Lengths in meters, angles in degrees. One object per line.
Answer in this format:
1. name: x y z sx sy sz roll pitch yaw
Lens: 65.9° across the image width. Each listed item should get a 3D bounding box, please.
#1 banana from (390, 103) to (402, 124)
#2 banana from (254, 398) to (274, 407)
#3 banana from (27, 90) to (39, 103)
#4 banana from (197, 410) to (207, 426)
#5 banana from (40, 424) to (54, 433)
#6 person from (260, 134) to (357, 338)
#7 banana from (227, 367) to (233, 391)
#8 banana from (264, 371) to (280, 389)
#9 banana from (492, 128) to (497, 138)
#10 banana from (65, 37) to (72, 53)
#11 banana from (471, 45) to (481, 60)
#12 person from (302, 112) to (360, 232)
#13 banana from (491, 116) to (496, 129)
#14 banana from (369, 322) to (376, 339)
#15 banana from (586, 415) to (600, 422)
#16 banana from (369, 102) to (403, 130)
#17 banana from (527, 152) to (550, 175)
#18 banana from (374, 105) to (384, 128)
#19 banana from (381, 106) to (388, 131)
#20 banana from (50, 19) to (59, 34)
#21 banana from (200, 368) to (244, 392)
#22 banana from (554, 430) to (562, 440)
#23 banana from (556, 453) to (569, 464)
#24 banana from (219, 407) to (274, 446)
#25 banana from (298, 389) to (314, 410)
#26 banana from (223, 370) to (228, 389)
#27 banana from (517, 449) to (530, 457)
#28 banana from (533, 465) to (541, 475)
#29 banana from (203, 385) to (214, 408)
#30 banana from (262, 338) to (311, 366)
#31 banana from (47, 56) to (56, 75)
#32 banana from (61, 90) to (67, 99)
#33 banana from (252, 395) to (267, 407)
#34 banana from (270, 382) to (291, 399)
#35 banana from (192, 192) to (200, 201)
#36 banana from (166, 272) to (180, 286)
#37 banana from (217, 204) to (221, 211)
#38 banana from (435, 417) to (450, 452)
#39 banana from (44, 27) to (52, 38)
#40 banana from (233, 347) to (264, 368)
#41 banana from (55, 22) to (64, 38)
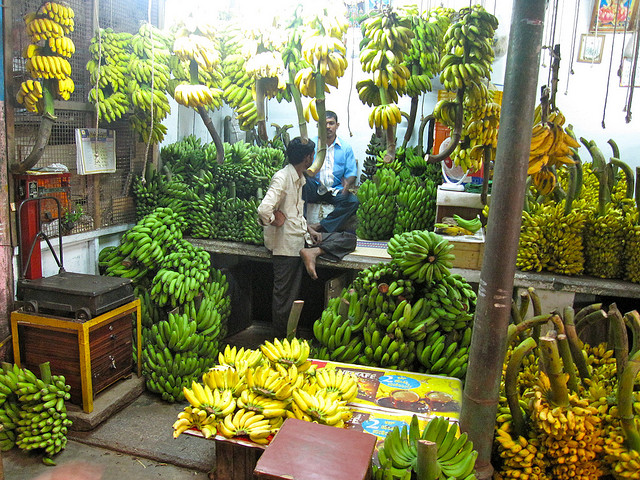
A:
1. banana: 0.595 -1.012 3.909 0.087 0.154 0.215 4 10 8
2. banana: -0.304 0.888 2.720 0.026 0.042 0.145 3 0 36
3. banana: -2.402 -1.213 4.175 0.028 0.108 0.036 -27 22 6
4. banana: -0.619 0.938 2.584 0.037 0.055 0.013 -4 -4 3
5. banana: -2.043 1.424 3.726 0.032 0.030 0.098 33 -2 -2
6. person: -0.227 0.081 5.246 1.133 2.250 0.836 -9 24 -31
7. banana: -0.517 0.802 2.850 0.031 0.105 0.025 3 2 -44
8. banana: -0.267 0.792 2.800 0.029 0.040 0.117 7 22 11
9. banana: 1.463 -0.903 4.149 0.014 0.060 0.042 5 14 8
10. banana: -2.181 -1.709 4.316 0.037 0.124 0.072 0 10 -16
11. banana: 1.255 -1.519 3.972 0.040 0.171 0.040 7 -31 -12
12. person: 0.104 -0.857 6.185 0.886 1.562 0.870 -6 8 -42
13. banana: 1.438 -0.988 4.117 0.020 0.092 0.024 -11 4 -5
14. banana: 0.383 0.656 3.564 0.026 0.105 0.033 9 3 17
15. banana: 1.413 0.931 2.562 0.075 0.034 0.012 2 9 -9
16. banana: 0.514 -0.973 3.932 0.194 0.172 0.229 -9 9 11
17. banana: 1.265 -0.454 2.870 0.038 0.165 0.059 34 28 10
18. banana: 0.442 -0.975 3.861 0.035 0.136 0.100 10 -2 -13
19. banana: 0.502 -0.951 3.841 0.033 0.189 0.045 -2 -4 5
20. banana: -2.227 -1.803 4.175 0.037 0.141 0.041 -34 -29 30
21. banana: -0.556 0.804 2.867 0.135 0.075 0.137 6 -7 -34
22. banana: 1.225 1.008 2.556 0.037 0.050 0.039 -1 3 1
23. banana: 1.244 1.130 2.544 0.025 0.025 0.085 16 49 44
24. banana: -0.372 0.974 2.576 0.164 0.061 0.166 7 16 -3
25. banana: -0.074 0.866 2.693 0.035 0.041 0.128 29 19 -50
26. banana: -0.540 0.805 2.850 0.021 0.106 0.032 0 -3 -10
27. banana: 1.072 1.123 2.604 0.044 0.029 0.023 -5 19 0
28. banana: 1.137 1.208 2.595 0.038 0.037 0.024 8 11 27
29. banana: -0.604 0.863 2.723 0.046 0.034 0.145 11 28 -24
30. banana: -0.191 0.705 3.121 0.192 0.105 0.178 0 7 -45
31. banana: -2.263 -1.494 4.193 0.038 0.156 0.047 -13 1 25
32. banana: -2.253 -1.287 4.372 0.034 0.063 0.017 37 3 -9
33. banana: -0.337 0.882 2.727 0.023 0.044 0.113 7 16 35
34. banana: -0.213 0.827 2.711 0.024 0.090 0.035 42 4 -13
35. banana: -1.383 -0.491 5.571 0.039 0.093 0.095 8 11 31
36. banana: -1.380 0.366 4.696 0.040 0.057 0.206 8 28 8
37. banana: -1.136 -0.371 5.620 0.025 0.079 0.072 -6 13 -42
38. banana: 0.599 0.968 2.435 0.028 0.145 0.047 10 -16 37
39. banana: -2.266 -1.738 4.149 0.029 0.060 0.044 6 10 17
40. banana: -0.450 0.791 3.143 0.140 0.068 0.165 -9 11 12
41. banana: -2.204 -1.793 4.227 0.026 0.105 0.036 -25 -22 32
